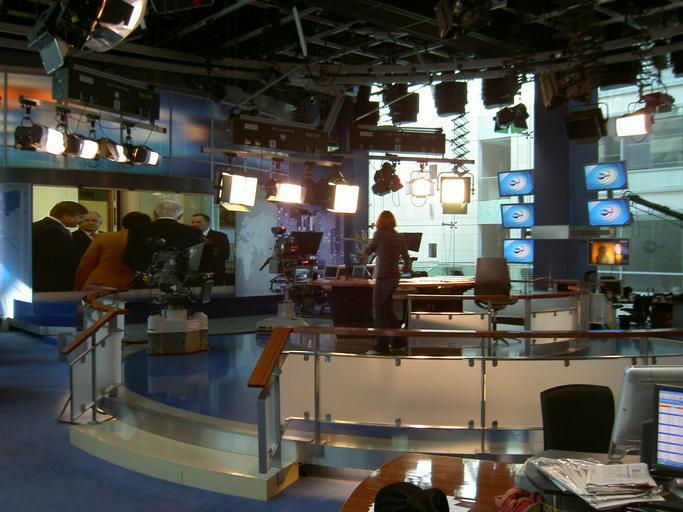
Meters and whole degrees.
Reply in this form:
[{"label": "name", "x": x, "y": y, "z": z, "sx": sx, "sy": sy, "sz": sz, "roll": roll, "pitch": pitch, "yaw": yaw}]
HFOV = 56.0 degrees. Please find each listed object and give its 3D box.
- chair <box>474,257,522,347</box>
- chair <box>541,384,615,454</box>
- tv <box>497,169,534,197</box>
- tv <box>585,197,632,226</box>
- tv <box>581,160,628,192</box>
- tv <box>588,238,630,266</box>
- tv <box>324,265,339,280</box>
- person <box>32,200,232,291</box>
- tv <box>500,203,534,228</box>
[{"label": "chair", "x": 2.105, "y": 0.567, "z": 9.004, "sx": 0.648, "sy": 1.046, "sz": 0.577, "roll": 0, "pitch": -3, "yaw": 11}, {"label": "chair", "x": 1.773, "y": 1.209, "z": 4.809, "sx": 0.504, "sy": 0.608, "sz": 0.569, "roll": -1, "pitch": -10, "yaw": 7}, {"label": "tv", "x": 3.727, "y": -1.527, "z": 13.663, "sx": 0.784, "sy": 0.473, "sz": 0.108, "roll": 4, "pitch": 13, "yaw": 40}, {"label": "tv", "x": 5.126, "y": -0.820, "z": 12.289, "sx": 0.692, "sy": 0.432, "sz": 0.102, "roll": -1, "pitch": 0, "yaw": 43}, {"label": "tv", "x": 5.026, "y": -1.502, "z": 12.266, "sx": 0.788, "sy": 0.510, "sz": 0.085, "roll": 3, "pitch": 11, "yaw": 35}, {"label": "tv", "x": 5.128, "y": -0.075, "z": 12.296, "sx": 0.603, "sy": 0.387, "sz": 0.083, "roll": -1, "pitch": 2, "yaw": 31}, {"label": "tv", "x": -0.164, "y": 0.276, "z": 10.438, "sx": 0.248, "sy": 0.215, "sz": 0.074, "roll": 0, "pitch": -34, "yaw": 18}, {"label": "person", "x": -3.499, "y": -0.128, "z": 10.554, "sx": 2.230, "sy": 0.928, "sz": 1.056, "roll": 0, "pitch": -5, "yaw": -30}, {"label": "tv", "x": 3.681, "y": -0.820, "z": 13.348, "sx": 0.626, "sy": 0.404, "sz": 0.087, "roll": 1, "pitch": 4, "yaw": 41}]
